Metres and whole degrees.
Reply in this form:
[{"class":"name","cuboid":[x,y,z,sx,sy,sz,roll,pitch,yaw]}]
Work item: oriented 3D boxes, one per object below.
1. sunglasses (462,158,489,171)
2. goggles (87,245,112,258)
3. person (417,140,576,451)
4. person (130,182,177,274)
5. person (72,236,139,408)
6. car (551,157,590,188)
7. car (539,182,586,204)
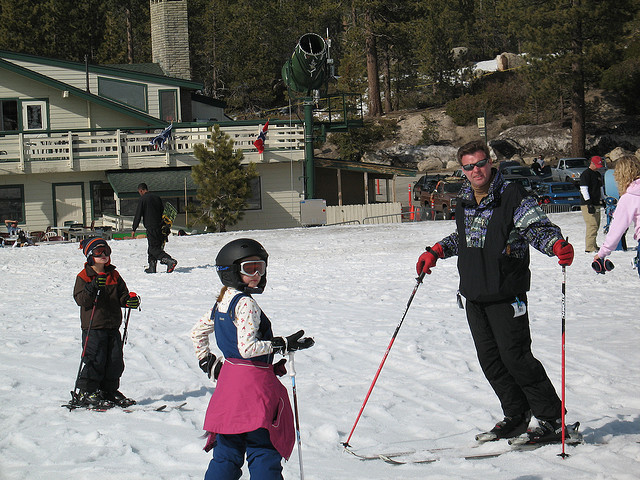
[{"class":"sunglasses","cuboid":[1.582,-0.761,7.427,0.258,0.122,0.134,-2,4,6]},{"class":"goggles","cuboid":[-2.596,0.133,8.625,0.255,0.146,0.191,-4,4,-24]},{"class":"person","cuboid":[1.883,0.556,7.362,0.999,3.085,0.495,-1,4,16]},{"class":"person","cuboid":[-3.883,-0.278,17.114,0.898,2.085,1.560,-3,4,-16]},{"class":"person","cuboid":[-2.546,0.959,8.652,0.683,1.971,0.468,-3,4,-20]},{"class":"car","cuboid":[13.115,-3.597,38.474,1.532,1.423,3.286,-8,12,-13]},{"class":"car","cuboid":[8.830,-1.672,26.694,1.353,0.700,2.233,-4,13,-12]}]
